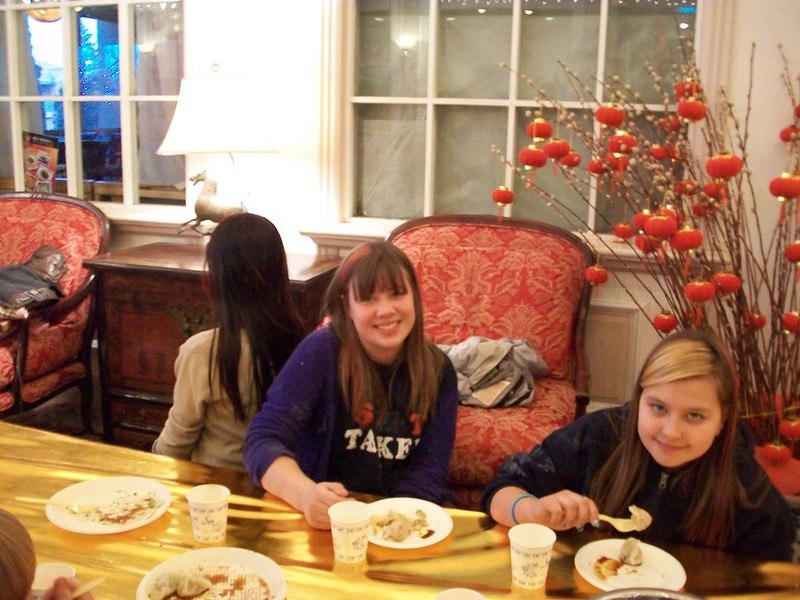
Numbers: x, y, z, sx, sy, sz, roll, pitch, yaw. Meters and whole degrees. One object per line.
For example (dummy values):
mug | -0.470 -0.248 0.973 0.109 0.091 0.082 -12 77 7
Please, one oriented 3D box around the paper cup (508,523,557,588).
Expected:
paper cup | 0.235 0.473 1.209 0.101 0.087 0.097 2 13 0

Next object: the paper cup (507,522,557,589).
paper cup | 0.239 0.472 1.163 0.103 0.091 0.097 3 15 -1

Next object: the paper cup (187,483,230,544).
paper cup | -0.381 0.436 1.266 0.091 0.088 0.090 0 0 0

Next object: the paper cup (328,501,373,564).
paper cup | -0.096 0.443 1.201 0.104 0.090 0.096 1 14 0

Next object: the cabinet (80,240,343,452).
cabinet | -0.907 0.370 3.216 1.120 0.974 0.688 0 0 22

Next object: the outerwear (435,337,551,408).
outerwear | 0.363 0.286 2.542 0.322 0.111 0.314 -8 13 -37

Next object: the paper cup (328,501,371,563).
paper cup | -0.095 0.443 1.200 0.103 0.094 0.095 1 13 0

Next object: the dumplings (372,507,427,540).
dumplings | -0.002 0.463 1.301 0.057 0.016 0.062 25 19 34

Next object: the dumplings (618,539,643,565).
dumplings | 0.450 0.491 1.234 0.034 0.049 0.050 -1 1 -8
